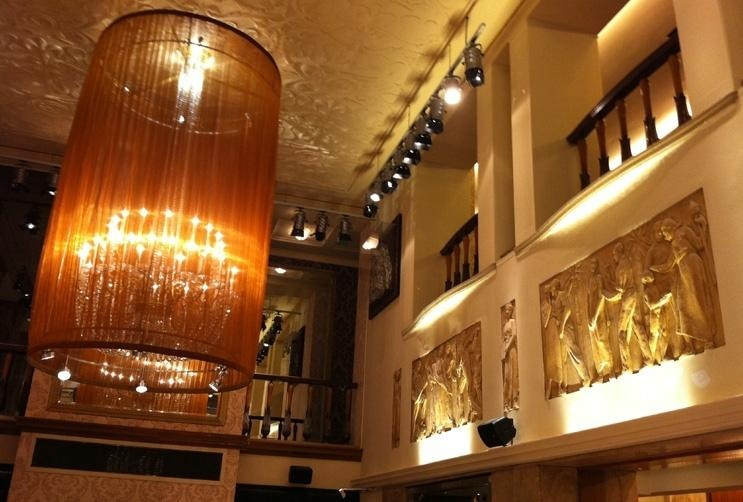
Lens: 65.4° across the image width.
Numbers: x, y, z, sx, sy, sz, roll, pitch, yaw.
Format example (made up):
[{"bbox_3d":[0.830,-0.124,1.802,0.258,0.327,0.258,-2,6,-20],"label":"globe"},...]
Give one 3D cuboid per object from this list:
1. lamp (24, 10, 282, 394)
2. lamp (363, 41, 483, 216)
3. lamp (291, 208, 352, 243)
[{"bbox_3d":[-1.512,-0.534,4.328,1.564,2.620,0.684,8,-23,-14],"label":"lamp"},{"bbox_3d":[0.704,-1.655,7.559,0.352,0.502,2.449,10,-51,-32],"label":"lamp"},{"bbox_3d":[-0.789,-0.402,9.413,0.993,0.507,0.279,6,-8,-14],"label":"lamp"}]
